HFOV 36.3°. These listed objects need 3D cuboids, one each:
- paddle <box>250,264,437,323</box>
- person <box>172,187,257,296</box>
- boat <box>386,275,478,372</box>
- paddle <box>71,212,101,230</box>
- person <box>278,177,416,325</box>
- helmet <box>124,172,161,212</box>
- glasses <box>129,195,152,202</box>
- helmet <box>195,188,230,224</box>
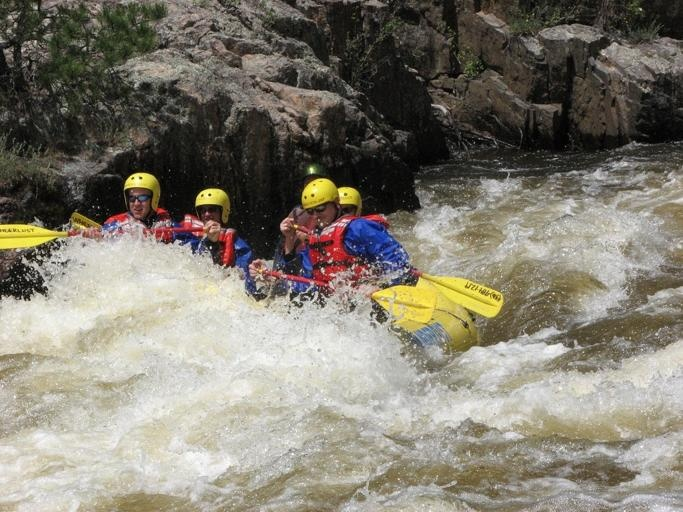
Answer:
[{"bbox_3d":[0.104,0.388,11.449,1.840,0.683,0.145,14,-13,5],"label":"paddle"},{"bbox_3d":[-1.537,-0.144,12.171,0.937,0.676,1.686,-9,41,-15],"label":"person"},{"bbox_3d":[0.967,0.670,11.199,0.839,0.333,0.843,-30,61,-33],"label":"boat"},{"bbox_3d":[-3.027,-0.402,12.303,0.403,0.135,0.093,26,-12,-39],"label":"paddle"},{"bbox_3d":[0.096,0.225,11.878,1.531,2.149,0.970,-5,-1,27],"label":"person"},{"bbox_3d":[-2.307,-0.753,12.406,0.412,0.469,0.501,7,2,11],"label":"helmet"},{"bbox_3d":[-2.347,-0.672,12.186,0.243,0.091,0.084,-6,9,-10],"label":"glasses"},{"bbox_3d":[-1.525,-0.565,12.467,0.370,0.446,0.485,-3,-1,25],"label":"helmet"}]
